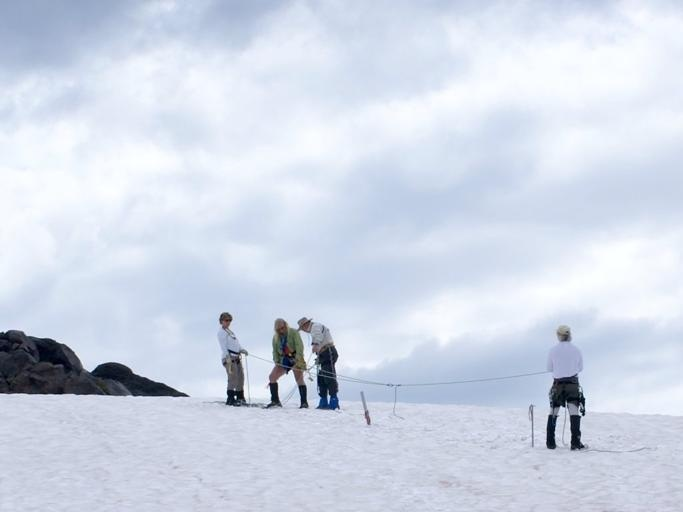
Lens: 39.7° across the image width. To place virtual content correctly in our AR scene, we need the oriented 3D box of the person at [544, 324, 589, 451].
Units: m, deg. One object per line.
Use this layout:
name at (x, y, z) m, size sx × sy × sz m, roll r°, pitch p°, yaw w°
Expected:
person at (5.857, 3.532, 24.563) m, size 1.054 × 3.115 × 1.335 m, roll 5°, pitch 11°, yaw 3°

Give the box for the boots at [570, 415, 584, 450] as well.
boots at (6.057, 4.570, 24.259) m, size 0.444 × 0.866 × 0.343 m, roll 6°, pitch 11°, yaw 9°

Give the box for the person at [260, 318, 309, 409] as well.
person at (-1.500, 3.164, 27.018) m, size 1.047 × 2.594 × 0.730 m, roll 4°, pitch 11°, yaw 1°
